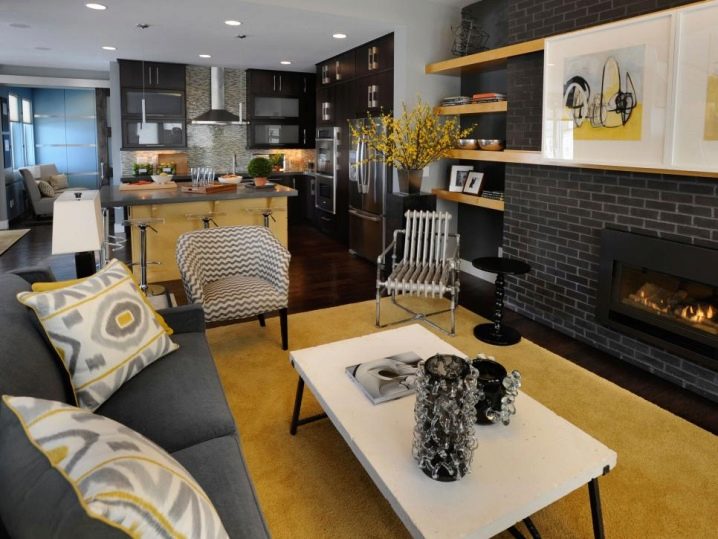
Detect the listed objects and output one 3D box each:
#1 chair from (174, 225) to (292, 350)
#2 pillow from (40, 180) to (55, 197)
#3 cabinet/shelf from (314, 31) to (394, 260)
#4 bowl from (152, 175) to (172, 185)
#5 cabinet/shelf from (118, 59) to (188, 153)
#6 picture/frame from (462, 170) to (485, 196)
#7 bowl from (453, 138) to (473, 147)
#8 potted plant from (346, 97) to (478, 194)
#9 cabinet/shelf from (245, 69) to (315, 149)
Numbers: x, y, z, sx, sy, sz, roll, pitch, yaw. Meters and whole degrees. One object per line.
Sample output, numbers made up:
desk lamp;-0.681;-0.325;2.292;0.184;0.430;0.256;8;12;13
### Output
chair;-0.935;0.031;4.014;0.958;1.085;0.898;-4;16;-22
pillow;-5.544;-1.419;8.975;0.113;0.227;0.323;-14;36;-18
cabinet/shelf;-0.045;-1.610;6.426;0.812;2.589;2.589;-2;8;-16
bowl;-2.329;-1.053;5.973;0.154;0.084;0.156;0;4;0
cabinet/shelf;-3.196;-2.533;7.721;1.078;1.571;0.820;-4;12;-26
picture/frame;1.223;-0.915;5.408;0.046;0.343;0.283;23;-7;-38
bowl;1.109;-1.299;5.246;0.124;0.060;0.128;-1;8;0
potted plant;0.562;-1.420;5.599;1.132;1.036;1.056;-5;13;-27
cabinet/shelf;-1.386;-2.721;8.475;1.133;1.155;0.440;-3;8;-23
